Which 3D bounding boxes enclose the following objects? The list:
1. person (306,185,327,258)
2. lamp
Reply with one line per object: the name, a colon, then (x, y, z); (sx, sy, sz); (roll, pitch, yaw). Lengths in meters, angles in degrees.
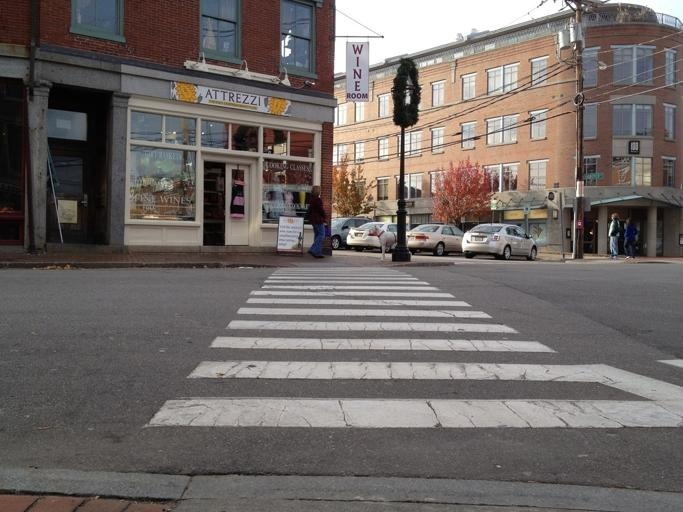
person: (-0.737, -1.033, 23.374); (0.493, 2.135, 1.280); (1, 9, -1)
lamp: (-2.868, -5.427, 22.577); (3.349, 0.658, 0.503); (2, 2, -37)
